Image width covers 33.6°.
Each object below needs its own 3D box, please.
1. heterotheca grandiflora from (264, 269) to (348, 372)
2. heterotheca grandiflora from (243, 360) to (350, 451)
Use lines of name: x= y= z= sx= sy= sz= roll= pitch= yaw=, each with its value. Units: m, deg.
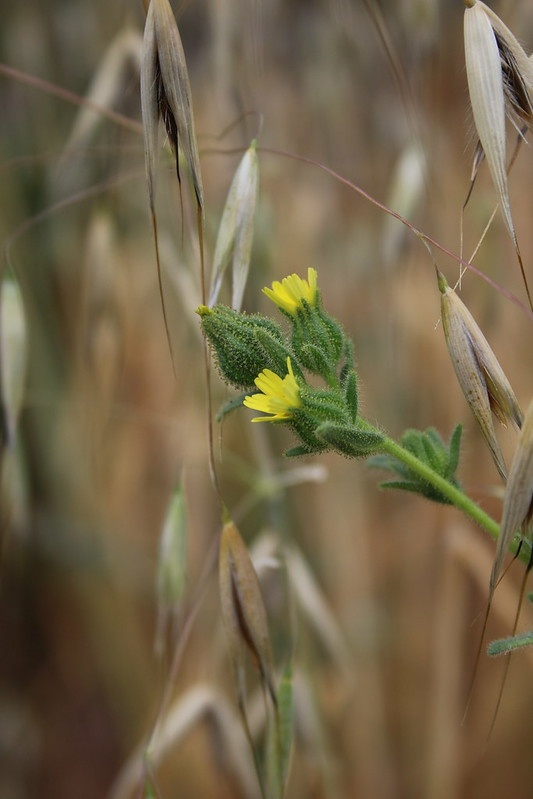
heterotheca grandiflora: x=0.036 y=-0.048 z=0.682 sx=0.037 sy=0.107 sz=0.041 roll=-16 pitch=-36 yaw=-10
heterotheca grandiflora: x=0.021 y=0.002 z=0.631 sx=0.073 sy=0.064 sz=0.048 roll=-10 pitch=-18 yaw=18
